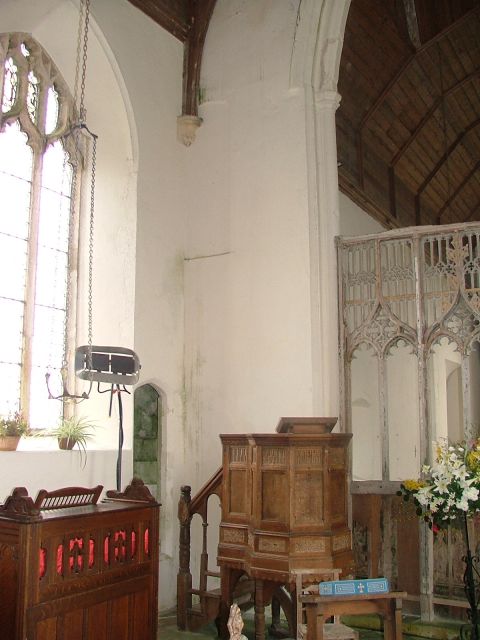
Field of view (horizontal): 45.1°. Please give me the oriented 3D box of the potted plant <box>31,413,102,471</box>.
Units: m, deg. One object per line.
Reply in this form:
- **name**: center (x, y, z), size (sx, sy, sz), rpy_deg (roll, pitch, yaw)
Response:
- **potted plant**: center (-1.528, 1.017, 5.133), size (0.415, 0.276, 0.481), rpy_deg (2, -11, 2)

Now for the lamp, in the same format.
- **lamp**: center (-1.617, -1.153, 5.617), size (0.420, 3.892, 1.247), rpy_deg (1, -6, -15)
